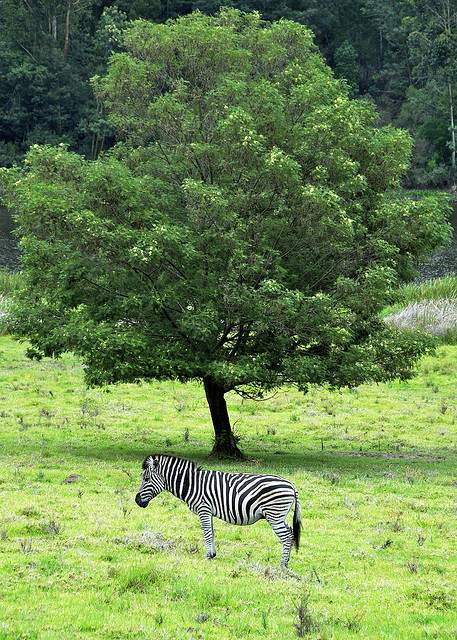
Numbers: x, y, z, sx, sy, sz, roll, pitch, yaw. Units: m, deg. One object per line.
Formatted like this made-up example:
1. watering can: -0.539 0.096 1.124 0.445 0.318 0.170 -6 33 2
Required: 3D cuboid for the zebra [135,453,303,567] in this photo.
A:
1. zebra: -0.185 2.891 13.298 2.581 1.651 0.674 2 -1 7
